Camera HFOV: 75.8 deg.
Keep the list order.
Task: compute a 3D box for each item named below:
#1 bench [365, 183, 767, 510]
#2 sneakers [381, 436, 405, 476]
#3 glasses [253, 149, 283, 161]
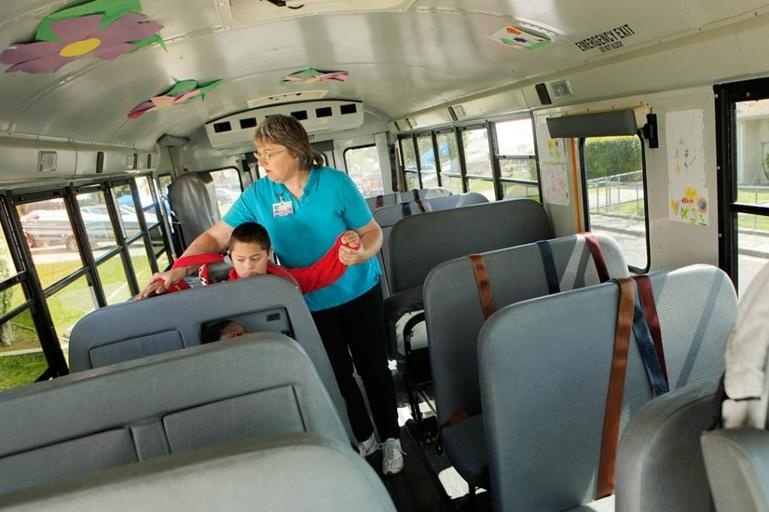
[{"bbox_3d":[0.768,0.559,3.796,1.568,1.715,2.838,-6,10,1],"label":"bench"},{"bbox_3d":[0.051,1.389,3.519,0.166,0.148,0.376,-7,13,6],"label":"sneakers"},{"bbox_3d":[-0.681,-0.602,2.942,0.102,0.030,0.095,-3,3,-30],"label":"glasses"}]
